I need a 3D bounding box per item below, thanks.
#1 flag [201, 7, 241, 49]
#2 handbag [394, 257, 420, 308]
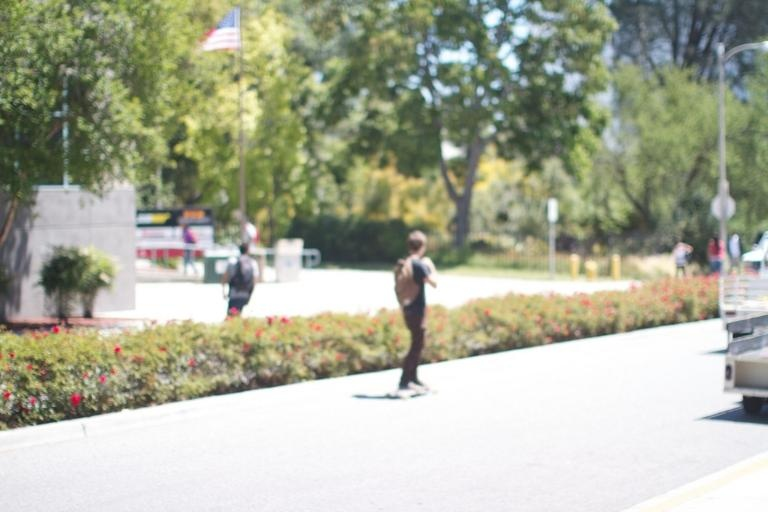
[{"bbox_3d":[-5.313,-7.174,47.505,1.282,0.372,1.346,-36,20,12],"label":"flag"},{"bbox_3d":[0.607,0.678,35.736,0.687,1.101,0.392,-2,4,34],"label":"handbag"}]
